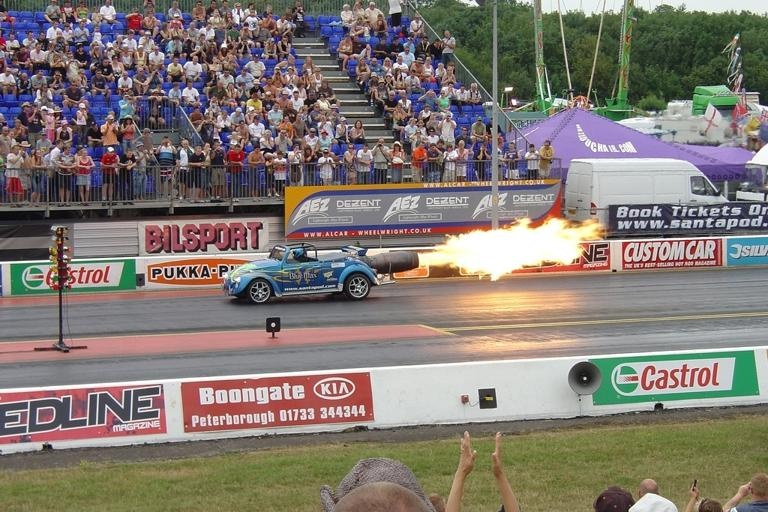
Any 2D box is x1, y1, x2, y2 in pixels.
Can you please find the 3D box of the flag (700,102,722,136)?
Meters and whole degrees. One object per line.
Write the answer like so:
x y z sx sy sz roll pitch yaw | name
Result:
19.017 -7.995 104.633 0.246 2.129 2.272 -1 10 -22 | flag

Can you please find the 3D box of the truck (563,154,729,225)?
11.749 -3.105 84.398 6.527 2.571 1.986 -2 1 -2 | truck

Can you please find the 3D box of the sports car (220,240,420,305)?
-2.590 0.553 75.649 7.706 2.139 2.746 -3 5 -12 | sports car
